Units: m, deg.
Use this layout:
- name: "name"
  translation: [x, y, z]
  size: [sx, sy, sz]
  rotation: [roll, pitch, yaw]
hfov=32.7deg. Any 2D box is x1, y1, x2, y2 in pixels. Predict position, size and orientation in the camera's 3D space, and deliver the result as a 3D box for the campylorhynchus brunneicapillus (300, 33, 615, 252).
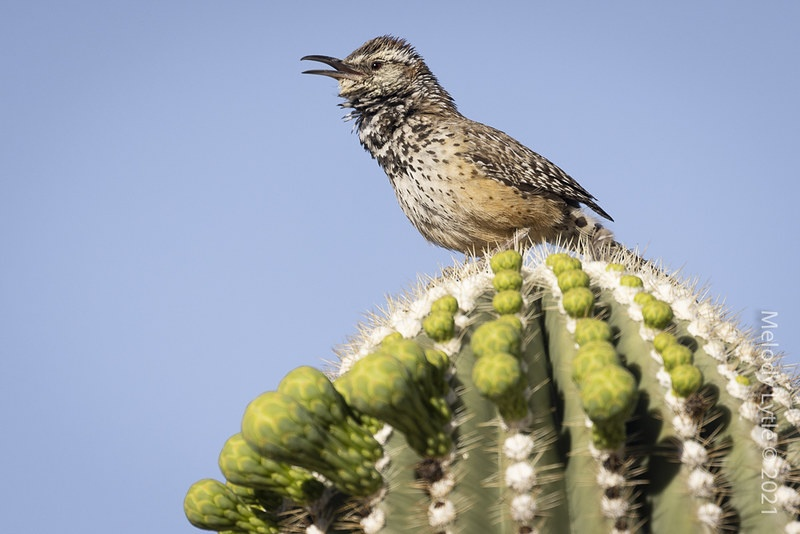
- name: "campylorhynchus brunneicapillus"
  translation: [0.537, -0.724, 9.291]
  size: [2.564, 0.814, 1.632]
  rotation: [3, -99, -16]
